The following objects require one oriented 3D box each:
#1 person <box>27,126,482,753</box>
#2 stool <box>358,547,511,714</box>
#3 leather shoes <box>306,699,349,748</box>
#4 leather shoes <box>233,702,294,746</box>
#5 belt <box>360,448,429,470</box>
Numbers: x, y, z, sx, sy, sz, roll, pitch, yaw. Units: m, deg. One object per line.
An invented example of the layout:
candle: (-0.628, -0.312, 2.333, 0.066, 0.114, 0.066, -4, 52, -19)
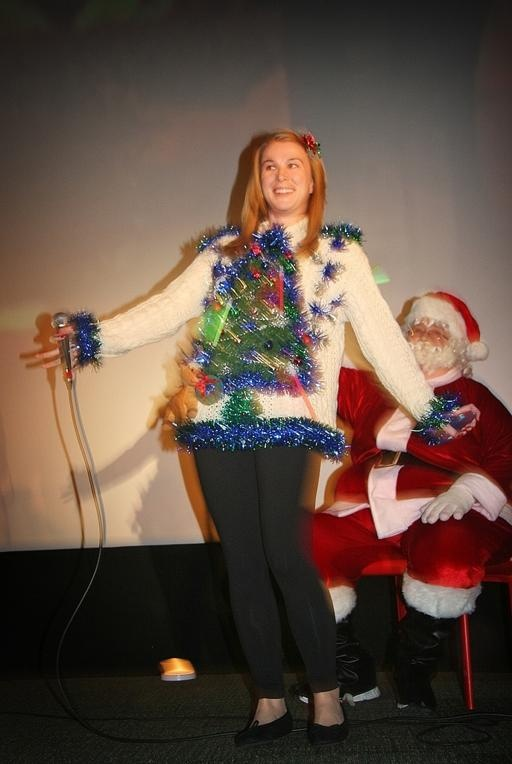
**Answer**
person: (0.028, 0.096, 1.508, 0.605, 1.263, 0.585, -21, 22, -36)
stool: (0.487, 0.657, 1.748, 0.352, 0.342, 0.404, 7, -18, -16)
leather shoes: (0.157, 0.746, 1.440, 0.080, 0.137, 0.109, -5, 17, 7)
leather shoes: (0.023, 0.739, 1.462, 0.167, 0.054, 0.053, -10, -3, -6)
belt: (0.382, 0.213, 1.847, 0.087, 0.020, 0.078, -5, 26, 1)
